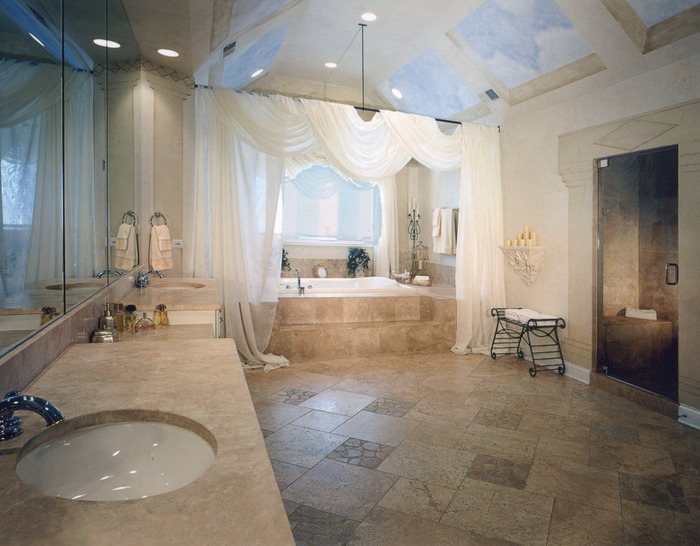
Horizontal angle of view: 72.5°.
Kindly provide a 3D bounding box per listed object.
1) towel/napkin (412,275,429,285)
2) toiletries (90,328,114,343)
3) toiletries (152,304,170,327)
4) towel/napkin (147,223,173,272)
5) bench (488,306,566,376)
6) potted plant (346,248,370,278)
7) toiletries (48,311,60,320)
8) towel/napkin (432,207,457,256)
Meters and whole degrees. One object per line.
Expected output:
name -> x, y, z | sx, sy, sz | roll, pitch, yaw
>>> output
towel/napkin -> 1.004, 0.112, 6.683 | 0.224, 0.117, 0.193 | 1, 3, 11
toiletries -> -1.142, 0.295, 2.206 | 0.063, 0.052, 0.071 | 2, 0, -17
toiletries -> -1.073, 0.246, 2.784 | 0.098, 0.152, 0.106 | -3, -2, 43
towel/napkin -> -1.648, -0.222, 4.166 | 0.162, 0.419, 0.274 | 0, 3, 2
bench -> 1.828, 0.688, 4.948 | 0.347, 0.585, 0.825 | -2, 5, -11
potted plant -> 0.088, -0.151, 7.616 | 0.422, 0.587, 0.386 | 0, 0, -11
toiletries -> -1.000, 0.139, 1.612 | 0.028, 0.023, 0.027 | -2, 10, -39
towel/napkin -> 1.317, -0.589, 6.586 | 0.175, 0.748, 0.584 | -4, 10, -19
